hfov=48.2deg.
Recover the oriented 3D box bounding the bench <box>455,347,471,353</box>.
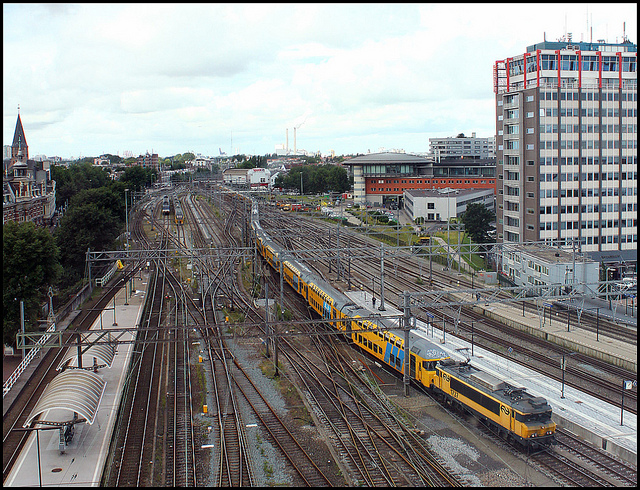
[{"bbox_3d":[10.437,7.729,52.247,1.059,0.347,0.294,-13,-27,39],"label":"bench"}]

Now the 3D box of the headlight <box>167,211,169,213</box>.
[{"bbox_3d":[-26.160,-5.598,122.114,0.301,0.325,0.175,0,-10,-9],"label":"headlight"}]
